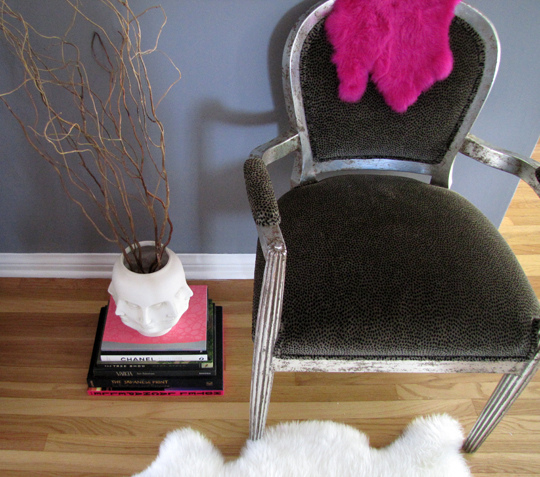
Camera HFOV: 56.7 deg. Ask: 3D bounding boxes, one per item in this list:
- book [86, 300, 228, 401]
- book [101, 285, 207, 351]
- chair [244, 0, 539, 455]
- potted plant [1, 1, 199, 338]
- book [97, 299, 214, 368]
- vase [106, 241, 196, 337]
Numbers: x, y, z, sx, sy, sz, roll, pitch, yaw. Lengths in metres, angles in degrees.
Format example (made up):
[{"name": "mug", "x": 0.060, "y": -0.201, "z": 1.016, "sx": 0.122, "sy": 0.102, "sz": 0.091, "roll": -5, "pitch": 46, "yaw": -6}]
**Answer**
[{"name": "book", "x": -0.308, "y": 0.282, "z": 1.410, "sx": 0.411, "sy": 0.086, "sz": 0.441, "roll": -6, "pitch": 27, "yaw": -27}, {"name": "book", "x": -0.277, "y": 0.196, "z": 1.213, "sx": 0.173, "sy": 0.039, "sz": 0.197, "roll": 1, "pitch": 41, "yaw": -5}, {"name": "chair", "x": 0.275, "y": -0.017, "z": 1.148, "sx": 0.673, "sy": 0.886, "sz": 0.628, "roll": 2, "pitch": 40, "yaw": -4}, {"name": "potted plant", "x": -0.367, "y": -0.126, "z": 1.248, "sx": 0.404, "sy": 0.835, "sz": 0.582, "roll": -18, "pitch": 45, "yaw": -25}, {"name": "book", "x": -0.298, "y": 0.248, "z": 1.367, "sx": 0.289, "sy": 0.058, "sz": 0.317, "roll": 5, "pitch": 19, "yaw": -4}, {"name": "vase", "x": -0.284, "y": 0.127, "z": 1.219, "sx": 0.205, "sy": 0.216, "sz": 0.184, "roll": -2, "pitch": 41, "yaw": -10}]
